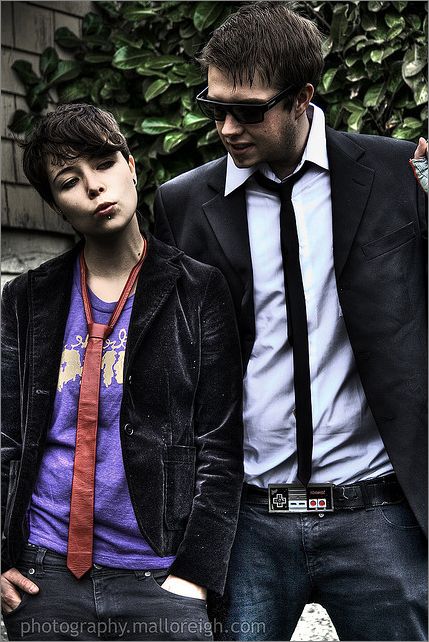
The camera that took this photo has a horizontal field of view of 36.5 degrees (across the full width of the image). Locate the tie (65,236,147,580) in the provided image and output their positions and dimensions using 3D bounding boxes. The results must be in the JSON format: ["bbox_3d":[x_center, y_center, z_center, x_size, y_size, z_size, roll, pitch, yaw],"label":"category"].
[{"bbox_3d":[-0.284,0.243,1.526,0.137,0.623,0.030,9,-12,-15],"label":"tie"}]

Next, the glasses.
[{"bbox_3d":[0.062,-0.550,1.687,0.182,0.054,0.187,12,34,37],"label":"glasses"}]

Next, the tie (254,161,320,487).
[{"bbox_3d":[0.194,0.044,1.742,0.194,0.893,0.048,-3,-1,7],"label":"tie"}]
